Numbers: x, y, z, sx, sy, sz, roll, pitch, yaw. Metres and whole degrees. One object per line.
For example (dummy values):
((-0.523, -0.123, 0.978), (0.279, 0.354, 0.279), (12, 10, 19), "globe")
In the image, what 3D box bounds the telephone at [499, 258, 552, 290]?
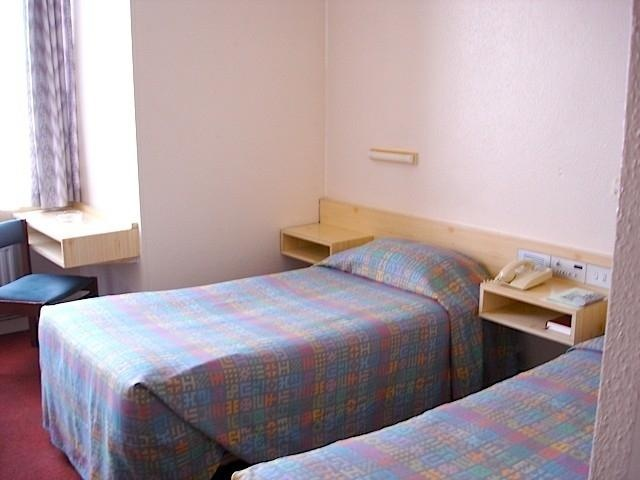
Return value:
((1.233, 0.203, 2.962), (0.294, 0.104, 0.237), (-14, 11, -19), "telephone")

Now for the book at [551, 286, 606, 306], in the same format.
((1.390, 0.310, 2.673), (0.130, 0.024, 0.144), (-11, 12, -35), "book")
